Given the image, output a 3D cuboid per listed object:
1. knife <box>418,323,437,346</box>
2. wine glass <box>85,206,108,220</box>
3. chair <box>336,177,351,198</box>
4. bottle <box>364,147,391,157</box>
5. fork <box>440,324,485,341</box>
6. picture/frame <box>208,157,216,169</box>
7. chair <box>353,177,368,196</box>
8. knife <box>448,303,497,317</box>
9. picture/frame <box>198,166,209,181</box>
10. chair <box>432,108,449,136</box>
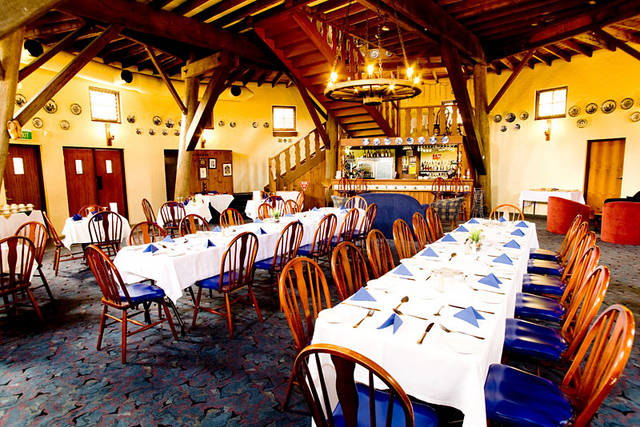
[{"bbox_3d":[0.970,1.085,3.771,0.078,0.046,0.298,12,33,29],"label":"knife"},{"bbox_3d":[-4.352,-0.009,7.949,0.242,0.102,0.250,10,18,29],"label":"wine glass"},{"bbox_3d":[0.659,-0.719,11.271,0.442,0.726,0.483,0,3,4],"label":"chair"},{"bbox_3d":[1.751,-1.859,12.395,0.941,0.292,0.213,-2,6,6],"label":"bottle"},{"bbox_3d":[1.296,1.089,3.743,0.311,0.049,0.046,11,42,20],"label":"fork"},{"bbox_3d":[-3.405,-1.574,12.848,0.029,0.424,0.354,4,4,43],"label":"picture/frame"},{"bbox_3d":[1.086,-0.729,11.058,0.372,0.435,0.385,-3,8,-9],"label":"chair"},{"bbox_3d":[1.498,0.920,3.996,0.469,0.097,0.219,-2,6,7],"label":"knife"},{"bbox_3d":[-3.634,-1.263,12.682,0.050,0.498,0.414,13,5,40],"label":"picture/frame"},{"bbox_3d":[3.463,-2.611,11.736,0.441,0.860,1.218,0,6,18],"label":"chair"}]
